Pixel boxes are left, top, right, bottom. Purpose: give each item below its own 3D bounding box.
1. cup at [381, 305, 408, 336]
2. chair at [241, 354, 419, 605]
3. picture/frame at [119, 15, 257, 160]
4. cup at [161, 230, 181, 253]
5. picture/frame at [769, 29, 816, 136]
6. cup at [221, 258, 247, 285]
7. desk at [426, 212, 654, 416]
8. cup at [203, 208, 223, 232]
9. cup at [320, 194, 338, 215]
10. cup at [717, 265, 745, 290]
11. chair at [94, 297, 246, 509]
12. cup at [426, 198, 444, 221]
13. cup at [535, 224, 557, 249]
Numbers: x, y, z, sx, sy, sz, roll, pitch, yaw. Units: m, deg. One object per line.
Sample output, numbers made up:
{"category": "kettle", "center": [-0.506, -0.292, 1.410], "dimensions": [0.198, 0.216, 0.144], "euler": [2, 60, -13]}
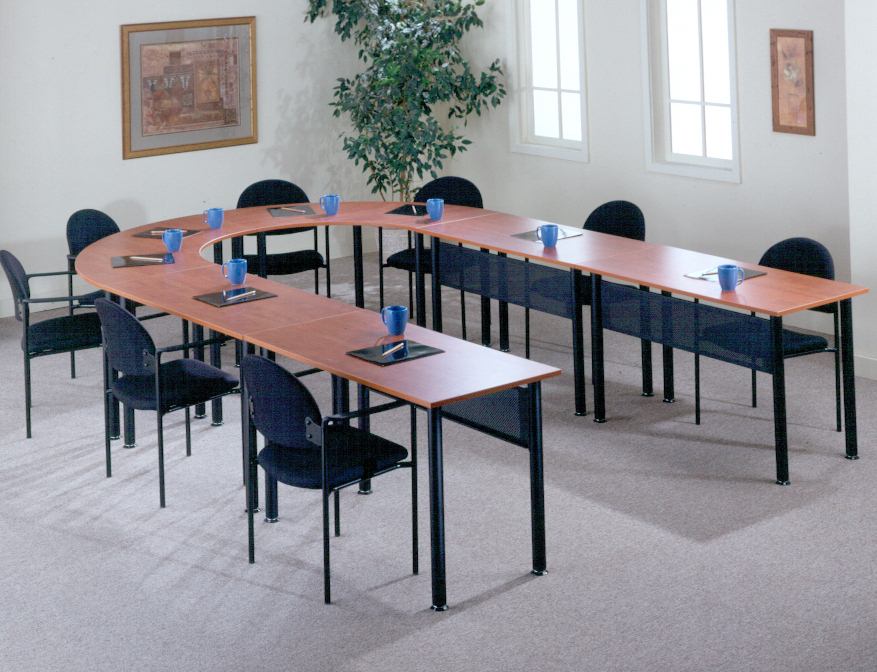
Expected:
{"category": "cup", "center": [-0.178, -0.076, 3.545], "dimensions": [0.089, 0.112, 0.131], "euler": [-3, 8, -19]}
{"category": "chair", "center": [-0.440, 0.493, 3.240], "dimensions": [0.606, 0.926, 0.569], "euler": [-7, 14, -40]}
{"category": "picture/frame", "center": [-2.283, -2.249, 7.246], "dimensions": [1.332, 1.157, 0.049], "euler": [-9, 13, -38]}
{"category": "cup", "center": [-1.590, -0.566, 4.873], "dimensions": [0.144, 0.128, 0.094], "euler": [16, 17, 42]}
{"category": "picture/frame", "center": [2.393, -1.711, 5.491], "dimensions": [0.037, 0.702, 0.363], "euler": [-10, 16, -32]}
{"category": "cup", "center": [-1.032, -0.336, 4.159], "dimensions": [0.142, 0.130, 0.108], "euler": [-9, 23, -29]}
{"category": "desk", "center": [0.620, -0.144, 4.729], "dimensions": [0.465, 0.760, 1.214], "euler": [-12, 19, -35]}
{"category": "cup", "center": [-1.522, -0.788, 5.406], "dimensions": [0.157, 0.147, 0.102], "euler": [1, 11, 0]}
{"category": "cup", "center": [-0.767, -0.936, 5.782], "dimensions": [0.150, 0.118, 0.121], "euler": [-3, 6, -27]}
{"category": "cup", "center": [1.422, -0.278, 3.979], "dimensions": [0.097, 0.132, 0.144], "euler": [4, 9, 39]}
{"category": "chair", "center": [-1.340, 0.286, 4.088], "dimensions": [0.587, 0.953, 0.689], "euler": [9, 12, 29]}
{"category": "cup", "center": [-0.022, -0.860, 5.552], "dimensions": [0.139, 0.156, 0.134], "euler": [2, 16, -1]}
{"category": "cup", "center": [0.652, -0.595, 4.891], "dimensions": [0.144, 0.144, 0.123], "euler": [-9, 22, -23]}
